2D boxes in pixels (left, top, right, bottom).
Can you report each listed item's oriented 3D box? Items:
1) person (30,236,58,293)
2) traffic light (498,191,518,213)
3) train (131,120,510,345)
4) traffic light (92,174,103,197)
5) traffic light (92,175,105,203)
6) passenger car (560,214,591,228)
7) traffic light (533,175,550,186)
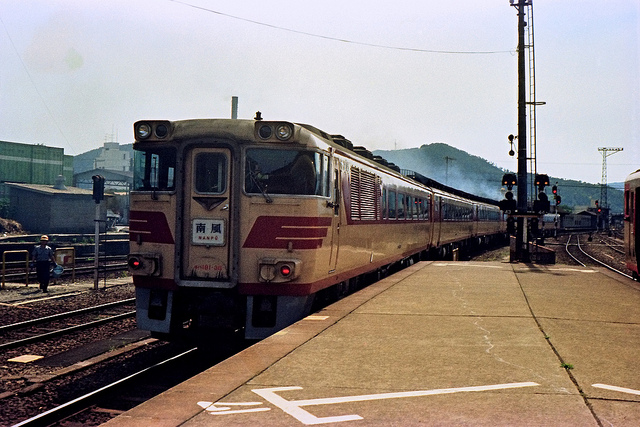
[{"bbox_3d":[-8.671,1.555,17.858,0.608,1.740,1.502,-3,3,-26],"label":"person"},{"bbox_3d":[7.134,-0.363,21.627,0.641,1.006,0.961,1,0,8],"label":"traffic light"},{"bbox_3d":[2.345,0.050,22.454,3.229,4.980,26.709,-1,1,20],"label":"train"},{"bbox_3d":[-7.099,-0.865,18.152,0.305,0.684,0.520,-3,3,-23],"label":"traffic light"},{"bbox_3d":[-7.092,-0.779,18.202,0.346,0.863,0.602,-3,3,-24],"label":"traffic light"},{"bbox_3d":[43.401,1.318,96.179,0.841,2.795,14.781,0,4,40],"label":"passenger car"},{"bbox_3d":[8.097,-1.099,20.744,0.594,0.439,0.484,0,-3,20],"label":"traffic light"}]
